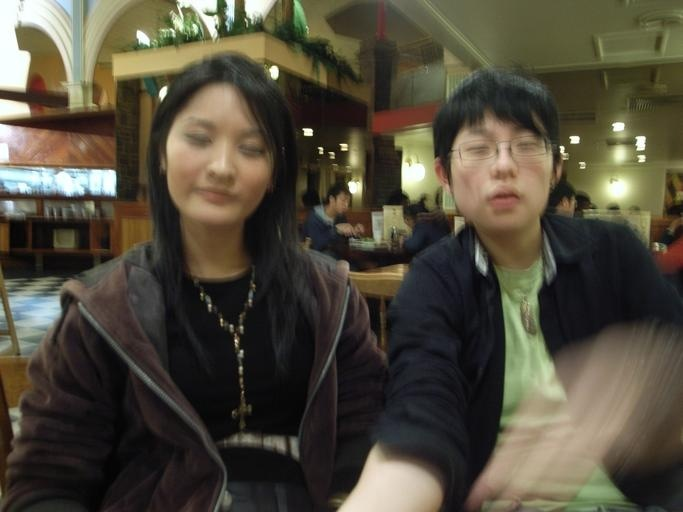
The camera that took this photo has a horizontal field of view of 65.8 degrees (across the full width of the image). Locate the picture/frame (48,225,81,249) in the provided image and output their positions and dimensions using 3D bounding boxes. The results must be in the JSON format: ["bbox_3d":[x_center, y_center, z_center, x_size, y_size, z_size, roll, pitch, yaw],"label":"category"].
[{"bbox_3d":[-4.402,-0.293,8.398,0.337,0.358,0.350,1,-3,-7],"label":"picture/frame"}]

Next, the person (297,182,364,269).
[{"bbox_3d":[-0.064,-0.236,3.561,0.438,0.782,0.388,1,1,21],"label":"person"}]

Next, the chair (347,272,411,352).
[{"bbox_3d":[0.138,0.265,2.654,0.393,0.417,0.315,-1,-5,16],"label":"chair"}]

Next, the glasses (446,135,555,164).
[{"bbox_3d":[0.403,-0.268,1.342,0.239,0.067,0.049,1,6,12],"label":"glasses"}]
